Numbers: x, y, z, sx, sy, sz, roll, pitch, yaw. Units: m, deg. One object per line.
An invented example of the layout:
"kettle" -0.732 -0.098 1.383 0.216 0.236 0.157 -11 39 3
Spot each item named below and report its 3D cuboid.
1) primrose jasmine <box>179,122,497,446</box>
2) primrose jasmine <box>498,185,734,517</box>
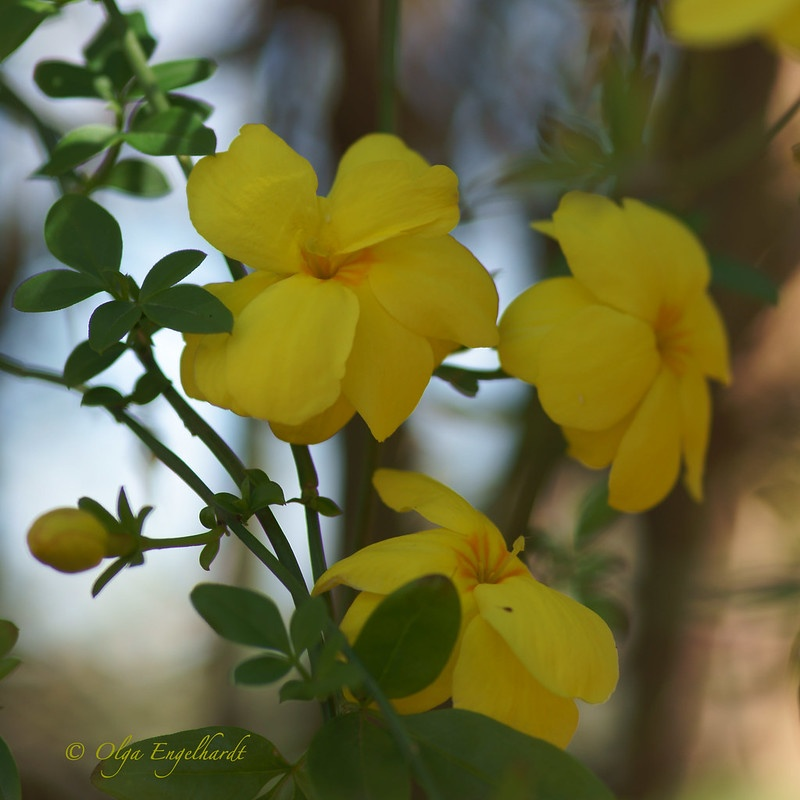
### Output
"primrose jasmine" -0.040 -0.057 0.683 0.164 0.083 0.164 -22 62 -12
"primrose jasmine" 0.121 -0.017 0.738 0.125 0.132 0.128 28 63 17
